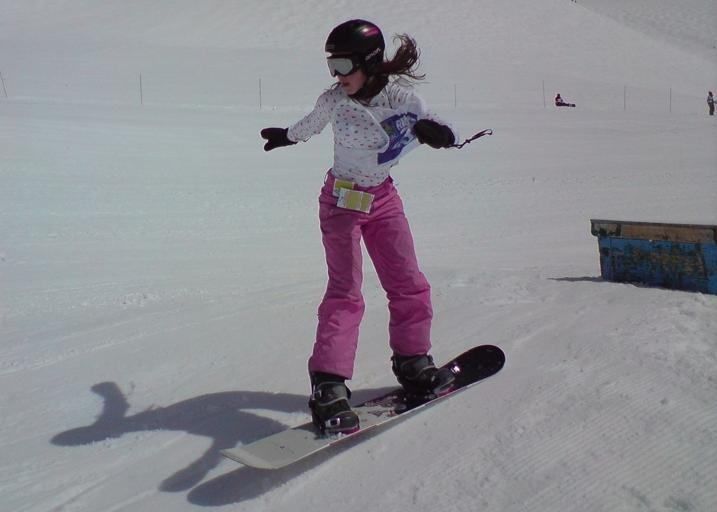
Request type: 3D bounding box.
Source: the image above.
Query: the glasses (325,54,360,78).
[{"bbox_3d":[-0.088,-1.100,3.163,0.169,0.115,0.163,-5,12,0],"label":"glasses"}]

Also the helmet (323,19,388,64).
[{"bbox_3d":[-0.017,-1.274,3.244,0.386,0.282,0.328,-9,23,-16],"label":"helmet"}]

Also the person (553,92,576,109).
[{"bbox_3d":[7.738,-5.808,20.398,0.741,0.565,1.494,0,13,21],"label":"person"}]

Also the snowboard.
[{"bbox_3d":[0.055,0.925,3.303,1.662,0.094,0.245,-17,31,-35],"label":"snowboard"}]

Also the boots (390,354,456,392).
[{"bbox_3d":[0.397,0.722,3.476,0.512,0.173,0.221,1,-9,2],"label":"boots"}]

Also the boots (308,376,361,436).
[{"bbox_3d":[-0.147,0.841,3.158,0.166,0.201,0.456,-3,5,-17],"label":"boots"}]

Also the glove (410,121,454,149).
[{"bbox_3d":[0.448,-0.726,3.206,0.249,0.173,0.174,-3,12,8],"label":"glove"}]

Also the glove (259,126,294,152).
[{"bbox_3d":[-0.564,-0.774,3.627,0.289,0.183,0.088,-3,1,18],"label":"glove"}]

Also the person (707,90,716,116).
[{"bbox_3d":[11.625,-5.026,17.909,0.182,0.771,1.592,4,15,34],"label":"person"}]
